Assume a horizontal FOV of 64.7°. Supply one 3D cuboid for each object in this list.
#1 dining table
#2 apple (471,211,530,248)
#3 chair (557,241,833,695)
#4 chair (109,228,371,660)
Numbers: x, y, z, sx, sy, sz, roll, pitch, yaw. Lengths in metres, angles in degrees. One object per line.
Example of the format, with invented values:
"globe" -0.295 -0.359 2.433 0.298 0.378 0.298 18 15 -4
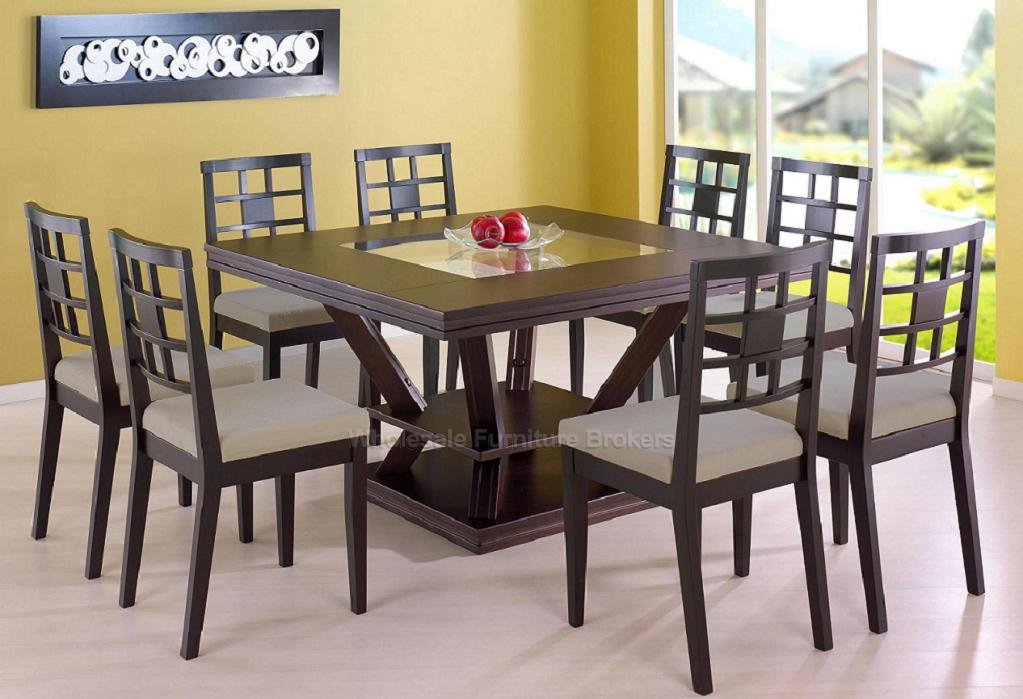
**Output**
"dining table" -0.119 0.092 2.984 1.583 0.894 1.536 -10 16 -34
"apple" -0.030 -0.460 3.150 0.140 0.094 0.189 0 2 17
"chair" 0.568 0.282 2.347 0.690 1.153 0.621 -12 17 -32
"chair" -0.934 0.214 2.612 0.781 1.219 0.767 -10 16 -27
